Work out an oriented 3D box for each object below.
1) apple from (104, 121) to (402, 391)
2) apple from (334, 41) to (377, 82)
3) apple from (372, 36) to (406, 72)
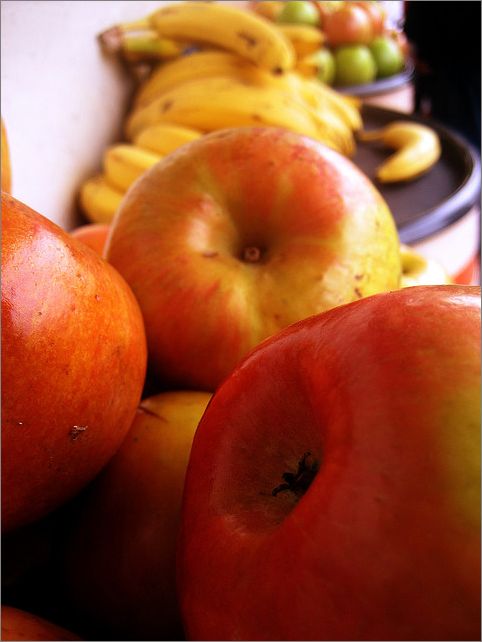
[{"bbox_3d":[0.009,-0.048,0.537,0.209,0.183,0.190,5,0,-1],"label":"apple"},{"bbox_3d":[0.273,-0.611,1.540,0.116,0.102,0.106,-1,12,12],"label":"apple"},{"bbox_3d":[0.368,-0.678,1.683,0.078,0.078,0.070,-7,-9,-21],"label":"apple"}]
